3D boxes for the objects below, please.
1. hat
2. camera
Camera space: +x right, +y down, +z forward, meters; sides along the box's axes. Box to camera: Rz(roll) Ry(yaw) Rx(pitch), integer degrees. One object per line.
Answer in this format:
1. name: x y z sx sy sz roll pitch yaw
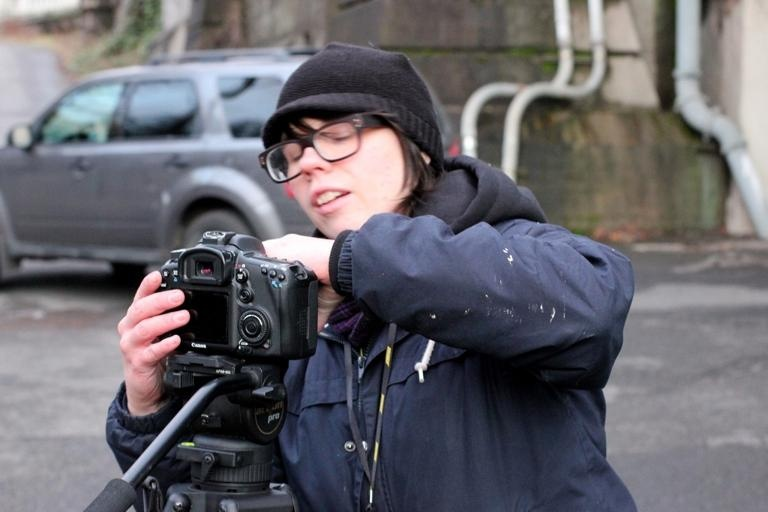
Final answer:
1. hat: -0.084 -0.503 3.446 0.598 0.381 0.450 1 3 -20
2. camera: -0.464 0.138 3.125 0.455 0.436 0.248 4 14 18
